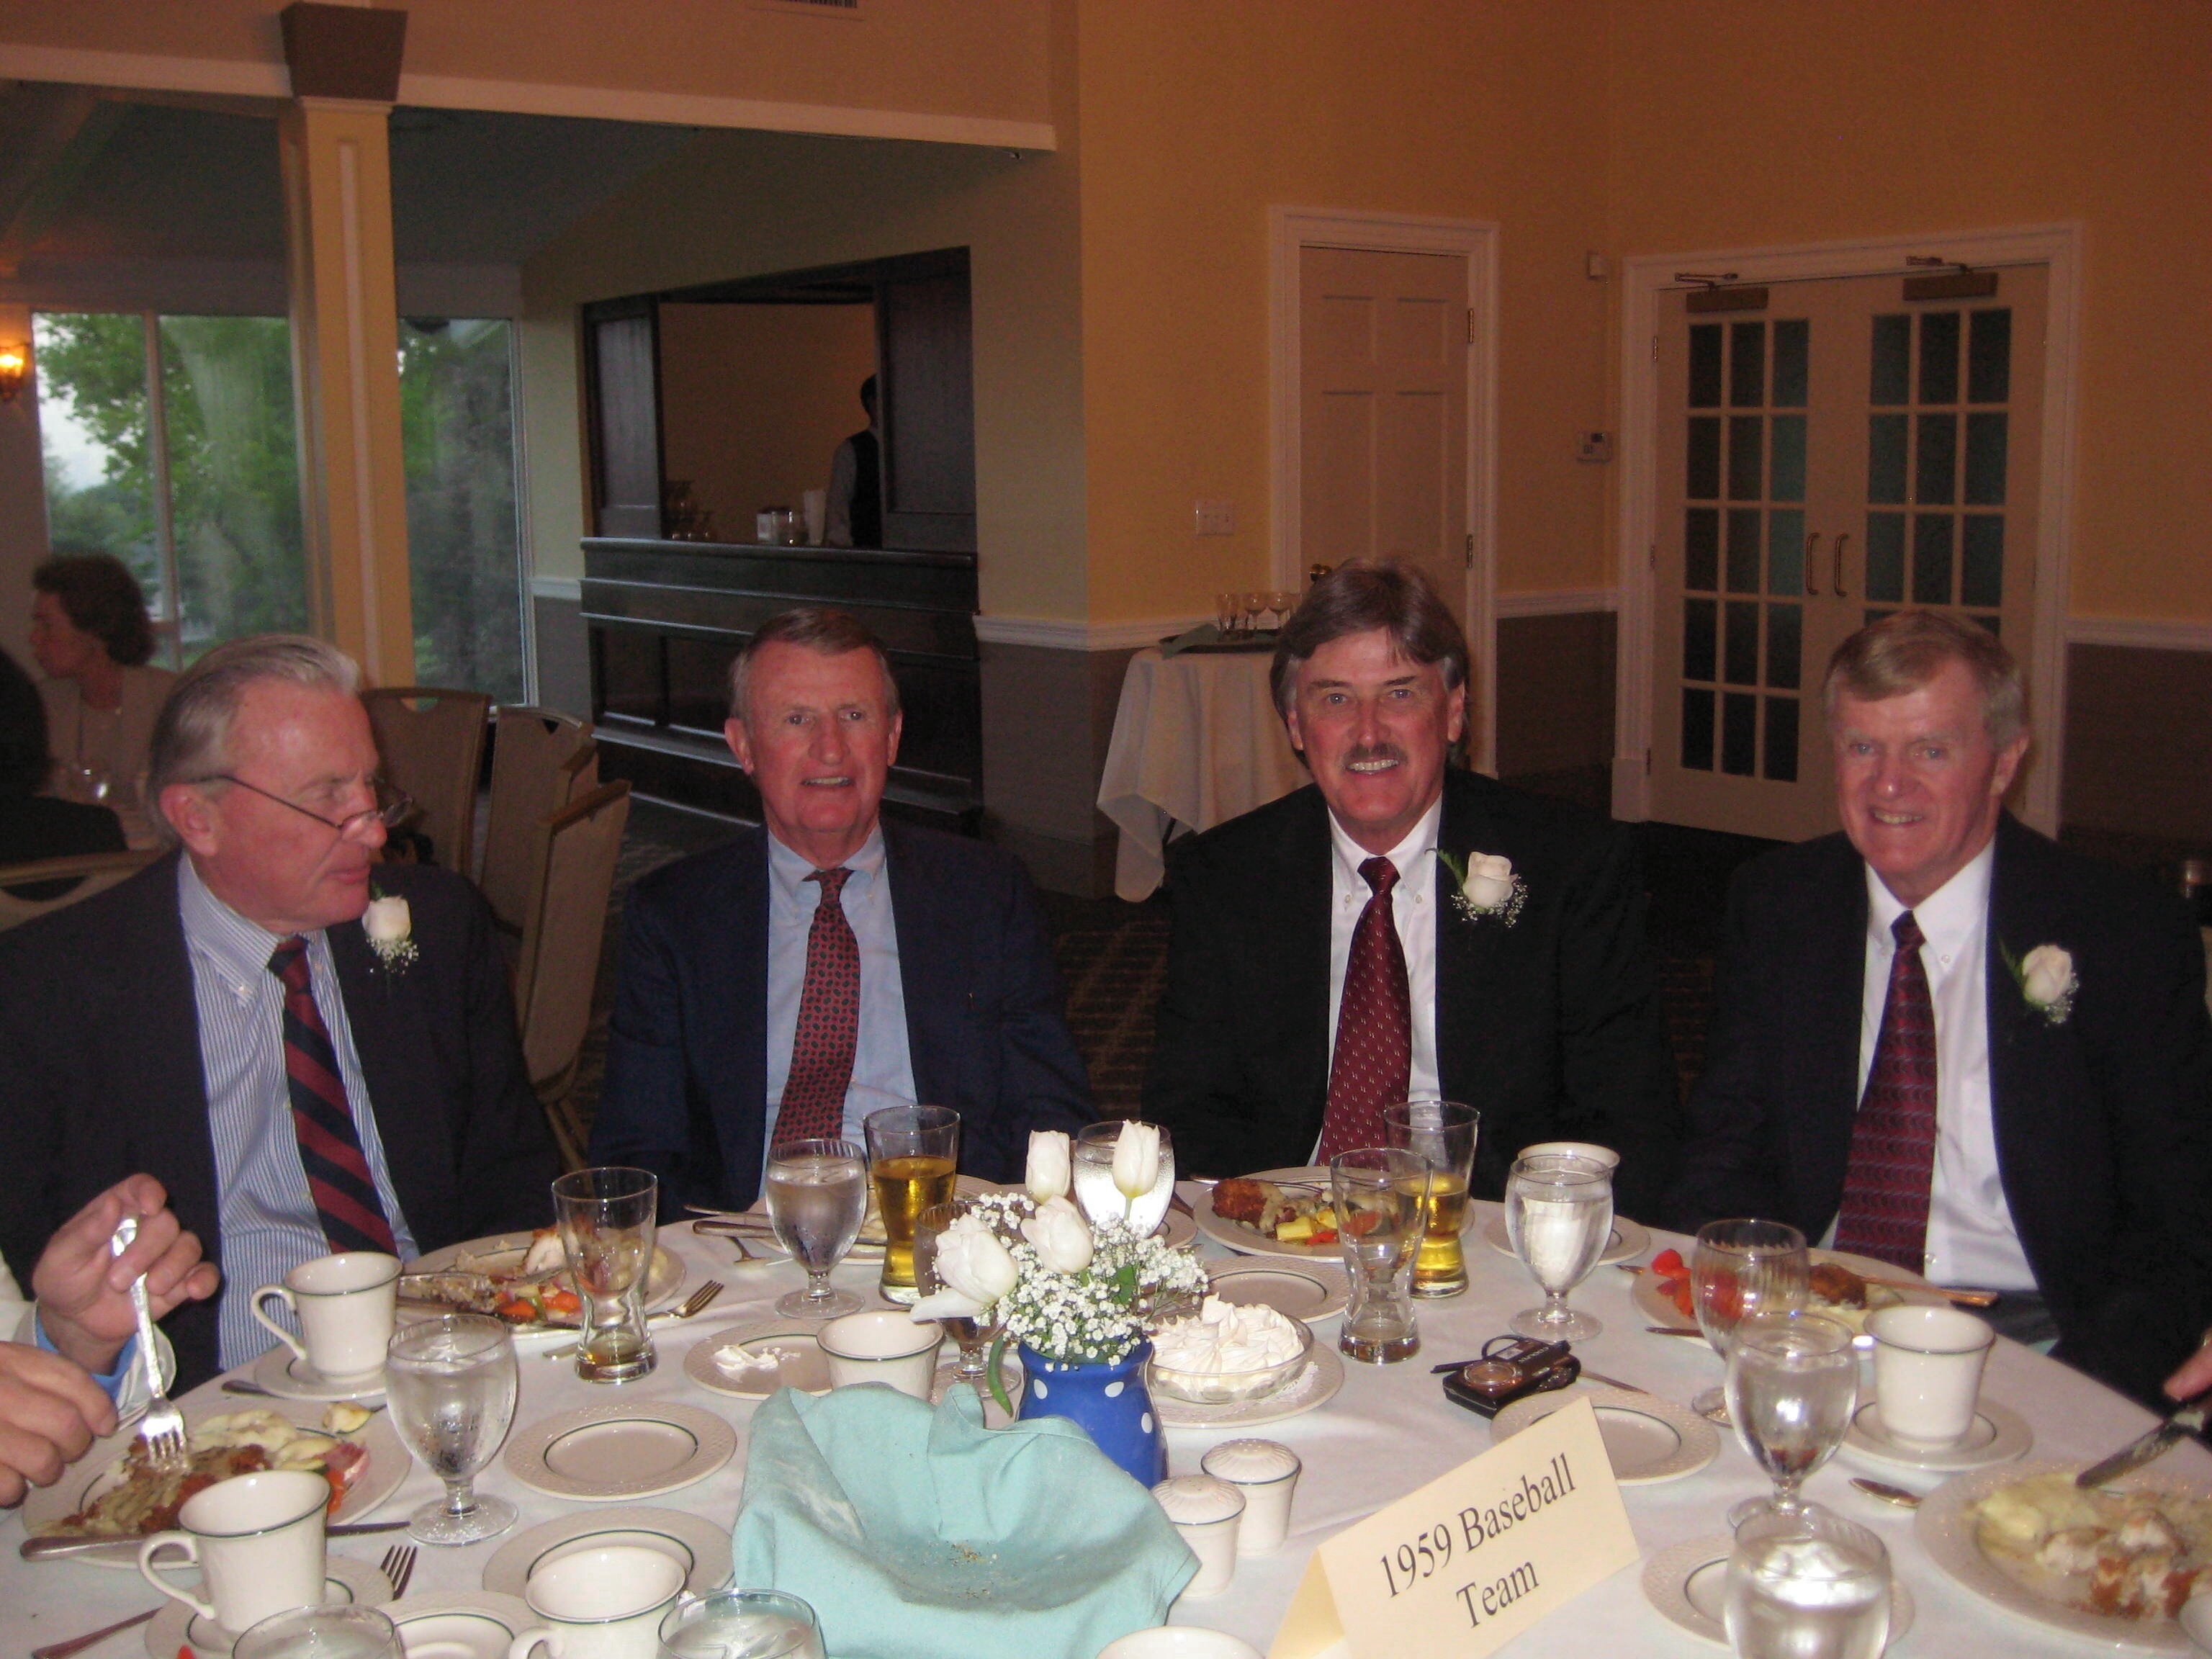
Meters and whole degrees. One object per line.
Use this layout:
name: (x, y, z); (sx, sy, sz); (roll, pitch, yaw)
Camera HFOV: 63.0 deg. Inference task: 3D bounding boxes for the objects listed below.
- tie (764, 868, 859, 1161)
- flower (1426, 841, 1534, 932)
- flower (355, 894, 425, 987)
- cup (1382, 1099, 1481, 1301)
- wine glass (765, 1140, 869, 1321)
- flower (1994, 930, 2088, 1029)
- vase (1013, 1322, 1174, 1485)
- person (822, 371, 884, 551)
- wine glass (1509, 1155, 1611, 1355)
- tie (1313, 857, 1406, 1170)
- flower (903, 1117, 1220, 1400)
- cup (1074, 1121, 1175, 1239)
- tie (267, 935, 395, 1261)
tie: (-0.495, 0.295, 3.028); (0.145, 0.423, 0.286); (-2, 7, -2)
flower: (0.638, 0.100, 3.027); (0.120, 0.121, 0.128); (-5, 8, -26)
flower: (-1.101, 0.165, 2.768); (0.042, 0.113, 0.086); (5, 23, 44)
cup: (0.397, 0.465, 2.224); (0.129, 0.223, 0.129); (3, -3, 0)
wine glass: (-0.341, 0.467, 2.147); (0.122, 0.204, 0.128); (1, 2, 24)
flower: (1.373, 0.225, 2.647); (0.109, 0.115, 0.071); (2, 8, 27)
vase: (-0.009, 0.538, 1.691); (0.130, 0.152, 0.138); (0, 8, 1)
person: (-1.393, -2.005, 9.846); (0.299, 0.978, 1.506); (-3, 7, -8)
wine glass: (0.526, 0.481, 2.101); (0.118, 0.204, 0.135); (1, 3, 2)
tie: (0.409, 0.323, 2.913); (0.147, 0.424, 0.221); (1, 8, 23)
flower: (-0.004, 0.396, 1.710); (0.159, 0.182, 0.159); (5, -3, -14)
cup: (0.013, 0.344, 1.786); (0.124, 0.143, 0.128); (0, 0, 0)
tie: (-1.158, 0.415, 2.671); (0.078, 0.475, 0.059); (-17, -18, 0)
